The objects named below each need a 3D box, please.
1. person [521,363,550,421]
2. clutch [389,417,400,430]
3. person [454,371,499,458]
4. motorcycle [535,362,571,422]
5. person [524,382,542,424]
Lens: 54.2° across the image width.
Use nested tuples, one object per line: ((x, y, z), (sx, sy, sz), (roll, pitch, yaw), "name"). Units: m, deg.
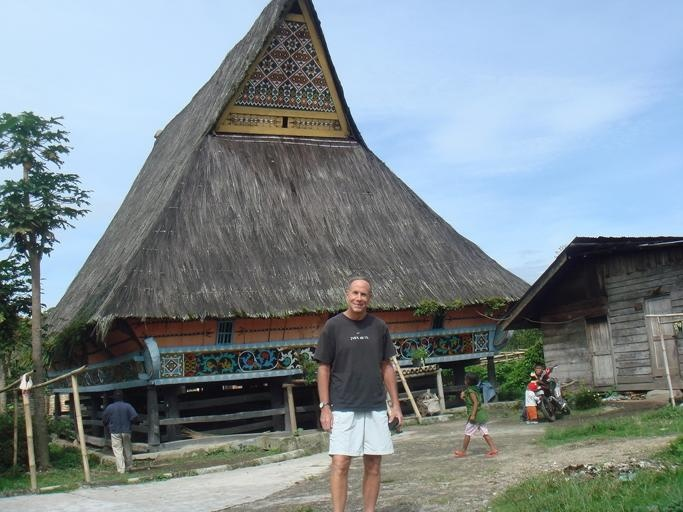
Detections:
((4.173, 3.207, 14.554), (0.356, 1.082, 0.330), (-18, -56, 31), "person")
((0.598, 1.890, 7.499), (0.074, 0.090, 0.127), (30, 19, -1), "clutch")
((2.203, 2.642, 11.195), (0.662, 1.329, 0.832), (-7, -12, 11), "person")
((4.673, 3.085, 14.808), (0.566, 0.839, 1.353), (-29, -10, 8), "motorcycle")
((4.184, 3.174, 14.555), (0.344, 0.871, 0.512), (-8, -12, 14), "person")
